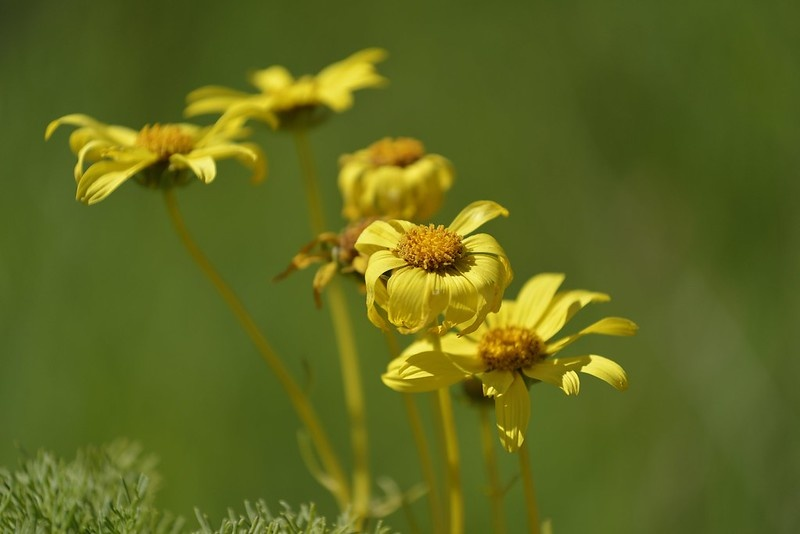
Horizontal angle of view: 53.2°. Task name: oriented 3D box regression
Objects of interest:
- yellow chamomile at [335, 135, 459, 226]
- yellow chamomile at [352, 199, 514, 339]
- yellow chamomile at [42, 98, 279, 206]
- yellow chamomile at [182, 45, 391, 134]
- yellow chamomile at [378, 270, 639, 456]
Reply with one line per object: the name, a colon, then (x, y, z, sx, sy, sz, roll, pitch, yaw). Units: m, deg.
yellow chamomile: (-0.018, -0.123, 1.346, 0.228, 0.163, 0.254, -7, 12, 3)
yellow chamomile: (0.061, 0.017, 1.084, 0.223, 0.111, 0.254, -9, 8, 14)
yellow chamomile: (-0.322, -0.150, 1.112, 0.303, 0.105, 0.297, -8, 2, 40)
yellow chamomile: (-0.146, -0.257, 1.166, 0.166, 0.061, 0.180, -15, 7, -6)
yellow chamomile: (0.168, 0.128, 1.109, 0.258, 0.068, 0.287, -12, 16, 15)
